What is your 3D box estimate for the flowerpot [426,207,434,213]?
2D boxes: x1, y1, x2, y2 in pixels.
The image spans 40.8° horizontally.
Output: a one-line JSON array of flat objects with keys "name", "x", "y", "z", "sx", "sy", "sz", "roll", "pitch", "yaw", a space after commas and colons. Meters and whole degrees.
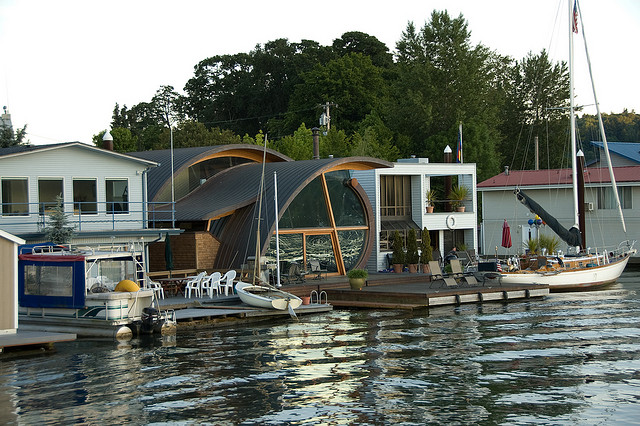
[{"name": "flowerpot", "x": 6.883, "y": -0.154, "z": 53.868, "sx": 0.384, "sy": 0.391, "sz": 0.395, "roll": -1, "pitch": 7, "yaw": -8}]

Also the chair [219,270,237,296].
[{"name": "chair", "x": -4.388, "y": 3.366, "z": 41.063, "sx": 0.760, "sy": 1.018, "sz": 2.150, "roll": -1, "pitch": 7, "yaw": -6}]

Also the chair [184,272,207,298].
[{"name": "chair", "x": -5.911, "y": 3.430, "z": 40.384, "sx": 0.813, "sy": 1.072, "sz": 1.458, "roll": 2, "pitch": 7, "yaw": 12}]

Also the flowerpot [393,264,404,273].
[{"name": "flowerpot", "x": 4.613, "y": 3.296, "z": 50.196, "sx": 0.487, "sy": 0.351, "sz": 0.491, "roll": -2, "pitch": -5, "yaw": 37}]

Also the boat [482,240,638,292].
[{"name": "boat", "x": 13.383, "y": 3.336, "z": 46.946, "sx": 8.918, "sy": 2.009, "sz": 2.105, "roll": -5, "pitch": 9, "yaw": -39}]

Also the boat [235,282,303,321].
[{"name": "boat", "x": -2.396, "y": 3.883, "z": 38.759, "sx": 1.409, "sy": 0.927, "sz": 3.229, "roll": 2, "pitch": 8, "yaw": -41}]

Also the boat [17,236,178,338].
[{"name": "boat", "x": -9.252, "y": 3.214, "z": 35.802, "sx": 6.770, "sy": 2.839, "sz": 3.700, "roll": -2, "pitch": -2, "yaw": 35}]

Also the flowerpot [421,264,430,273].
[{"name": "flowerpot", "x": 6.093, "y": 3.272, "z": 49.443, "sx": 0.684, "sy": 0.489, "sz": 0.695, "roll": -4, "pitch": -8, "yaw": 42}]

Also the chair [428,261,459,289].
[{"name": "chair", "x": 6.117, "y": 3.331, "z": 43.866, "sx": 1.368, "sy": 0.958, "sz": 0.788, "roll": 2, "pitch": 4, "yaw": 17}]

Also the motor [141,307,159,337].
[{"name": "motor", "x": -6.903, "y": 4.481, "z": 34.993, "sx": 0.654, "sy": 1.121, "sz": 0.314, "roll": -1, "pitch": 8, "yaw": -9}]
